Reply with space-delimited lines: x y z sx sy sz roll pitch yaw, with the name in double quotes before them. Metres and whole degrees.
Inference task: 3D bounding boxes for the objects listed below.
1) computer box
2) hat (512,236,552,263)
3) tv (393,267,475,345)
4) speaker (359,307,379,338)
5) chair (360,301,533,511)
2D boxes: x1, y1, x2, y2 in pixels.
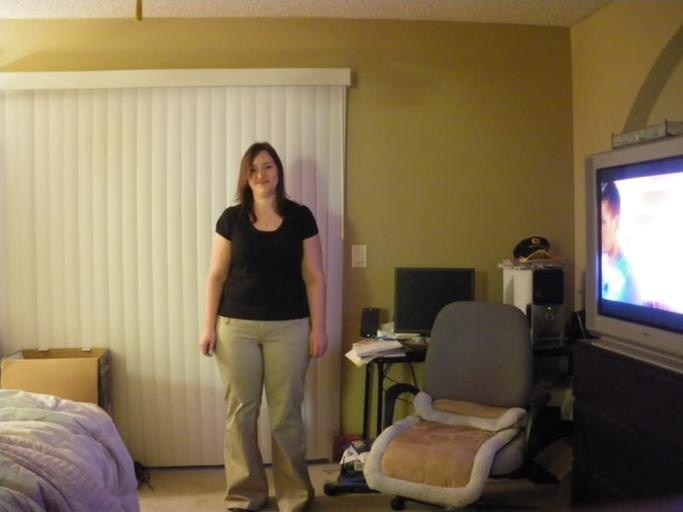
"computer box" 1.303 0.349 4.262 0.267 0.549 0.379 0 0 -16
"hat" 1.285 -0.041 4.244 0.154 0.111 0.231 0 -4 -1
"tv" 0.636 0.297 4.240 0.528 0.461 0.047 0 16 10
"speaker" 0.195 0.459 4.296 0.115 0.217 0.193 4 -3 8
"chair" 0.762 0.831 3.864 0.869 1.379 1.267 -1 -4 29
